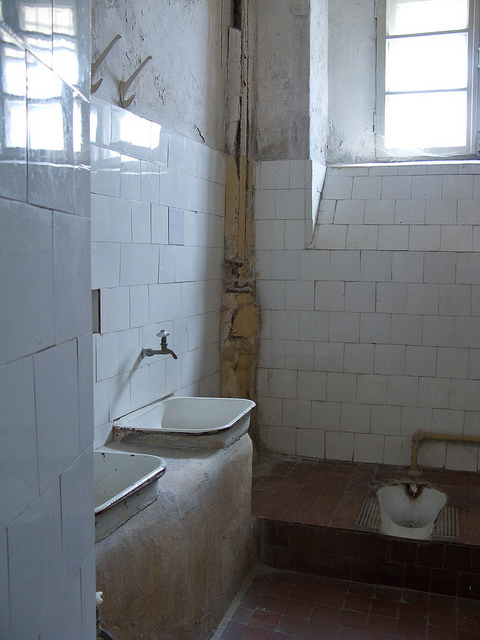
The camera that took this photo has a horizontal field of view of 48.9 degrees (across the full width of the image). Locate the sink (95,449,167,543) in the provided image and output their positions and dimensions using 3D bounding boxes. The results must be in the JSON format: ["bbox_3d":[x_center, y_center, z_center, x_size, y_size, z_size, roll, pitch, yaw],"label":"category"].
[{"bbox_3d":[-0.361,0.561,1.744,0.149,0.093,0.256,2,4,14],"label":"sink"}]

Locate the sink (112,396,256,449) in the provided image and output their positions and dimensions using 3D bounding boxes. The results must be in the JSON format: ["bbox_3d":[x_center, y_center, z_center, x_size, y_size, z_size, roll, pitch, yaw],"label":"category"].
[{"bbox_3d":[-0.238,0.506,2.551,0.563,0.200,0.642,3,9,14],"label":"sink"}]

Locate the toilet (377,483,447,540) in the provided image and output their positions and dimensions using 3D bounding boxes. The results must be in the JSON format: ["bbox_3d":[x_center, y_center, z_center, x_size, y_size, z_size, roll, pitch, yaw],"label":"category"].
[{"bbox_3d":[0.985,1.129,3.033,0.365,0.217,0.489,-5,22,24],"label":"toilet"}]
